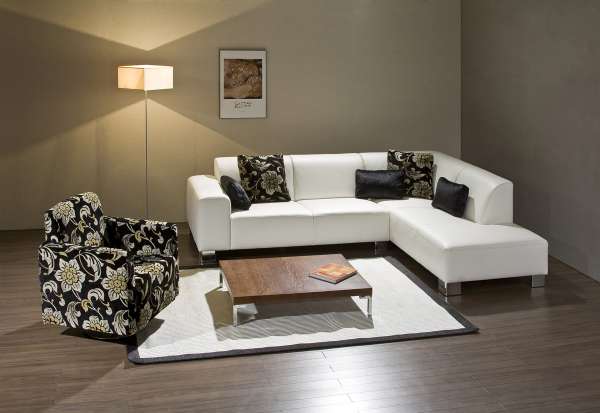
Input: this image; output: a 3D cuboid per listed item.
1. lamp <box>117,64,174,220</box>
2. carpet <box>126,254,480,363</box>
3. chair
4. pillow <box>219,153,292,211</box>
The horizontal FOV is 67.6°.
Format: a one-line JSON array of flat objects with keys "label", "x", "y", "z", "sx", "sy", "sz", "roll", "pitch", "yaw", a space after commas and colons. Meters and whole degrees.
[{"label": "lamp", "x": -2.065, "y": -0.761, "z": 6.187, "sx": 0.441, "sy": 2.180, "sz": 0.578, "roll": 7, "pitch": 18, "yaw": 12}, {"label": "carpet", "x": -0.033, "y": 0.975, "z": 4.158, "sx": 2.800, "sy": 0.121, "sz": 1.187, "roll": -3, "pitch": 14, "yaw": -9}, {"label": "chair", "x": -1.654, "y": 0.485, "z": 3.984, "sx": 1.168, "sy": 0.934, "sz": 1.167, "roll": -2, "pitch": 17, "yaw": -26}, {"label": "pillow", "x": -0.575, "y": -0.286, "z": 5.663, "sx": 0.758, "sy": 0.719, "sz": 0.227, "roll": -4, "pitch": -1, "yaw": -6}]
